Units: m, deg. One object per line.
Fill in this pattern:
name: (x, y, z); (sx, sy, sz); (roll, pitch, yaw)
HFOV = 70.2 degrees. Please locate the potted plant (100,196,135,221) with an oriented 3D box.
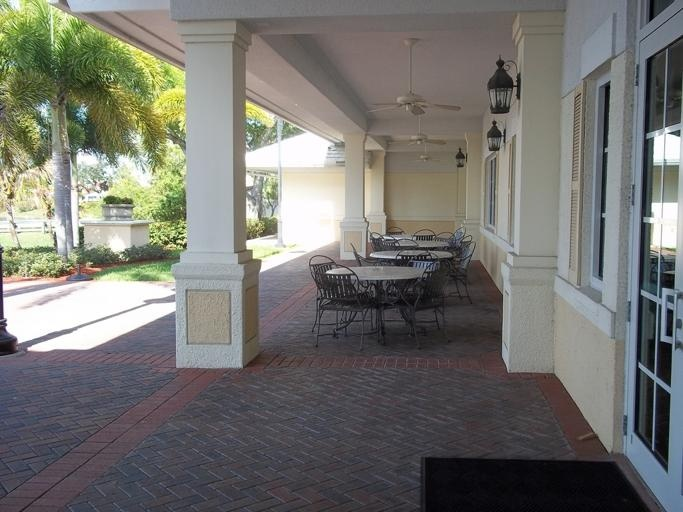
potted plant: (-7.589, -1.575, 16.590); (0.957, 0.815, 0.967); (1, 0, 32)
